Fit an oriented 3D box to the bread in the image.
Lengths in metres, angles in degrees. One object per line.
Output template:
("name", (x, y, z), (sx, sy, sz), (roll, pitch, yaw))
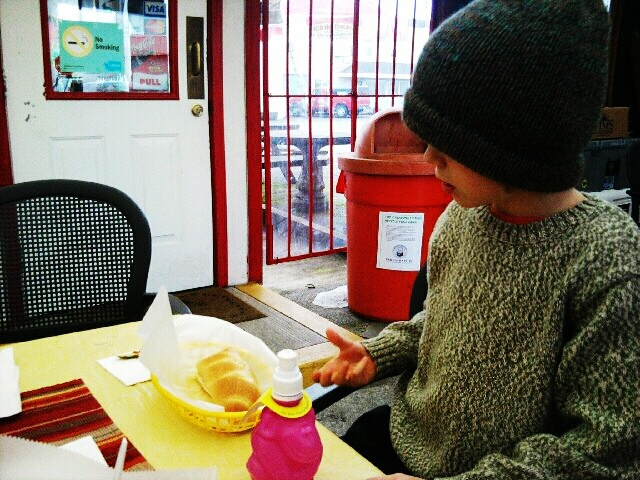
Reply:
("bread", (-0.170, 0.269, 0.977), (0.072, 0.040, 0.118), (-14, 36, -27))
